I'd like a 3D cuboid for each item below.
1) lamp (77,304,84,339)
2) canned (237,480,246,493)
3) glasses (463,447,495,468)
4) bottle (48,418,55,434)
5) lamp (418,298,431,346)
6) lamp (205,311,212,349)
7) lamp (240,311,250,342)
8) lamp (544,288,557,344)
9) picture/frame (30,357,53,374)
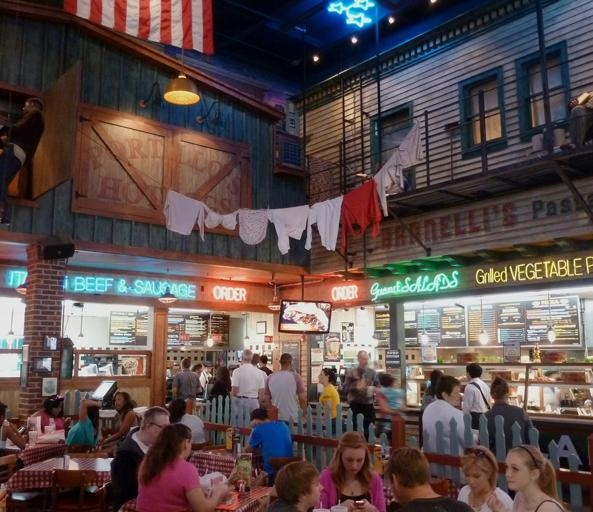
[{"bbox_3d":[-6.780,2.081,16.431,0.212,0.987,2.437,3,-13,-22],"label":"lamp"},{"bbox_3d":[-0.529,2.193,4.994,0.088,0.107,0.094,2,-6,-3],"label":"canned"},{"bbox_3d":[1.499,1.657,4.315,0.141,0.066,0.208,1,-37,20],"label":"glasses"},{"bbox_3d":[-3.961,2.721,8.430,0.132,0.268,0.138,0,-4,0],"label":"bottle"},{"bbox_3d":[3.498,1.907,14.558,0.256,1.087,0.465,-2,-11,4],"label":"lamp"},{"bbox_3d":[-3.148,2.645,18.580,0.402,1.213,0.201,-11,-15,39],"label":"lamp"},{"bbox_3d":[-1.851,2.536,18.641,0.192,1.014,0.797,2,-12,-14],"label":"lamp"},{"bbox_3d":[5.969,1.497,12.383,0.211,1.118,0.737,-6,-13,25],"label":"lamp"},{"bbox_3d":[-4.909,2.086,10.000,0.303,0.302,0.042,4,-8,-31],"label":"picture/frame"}]
